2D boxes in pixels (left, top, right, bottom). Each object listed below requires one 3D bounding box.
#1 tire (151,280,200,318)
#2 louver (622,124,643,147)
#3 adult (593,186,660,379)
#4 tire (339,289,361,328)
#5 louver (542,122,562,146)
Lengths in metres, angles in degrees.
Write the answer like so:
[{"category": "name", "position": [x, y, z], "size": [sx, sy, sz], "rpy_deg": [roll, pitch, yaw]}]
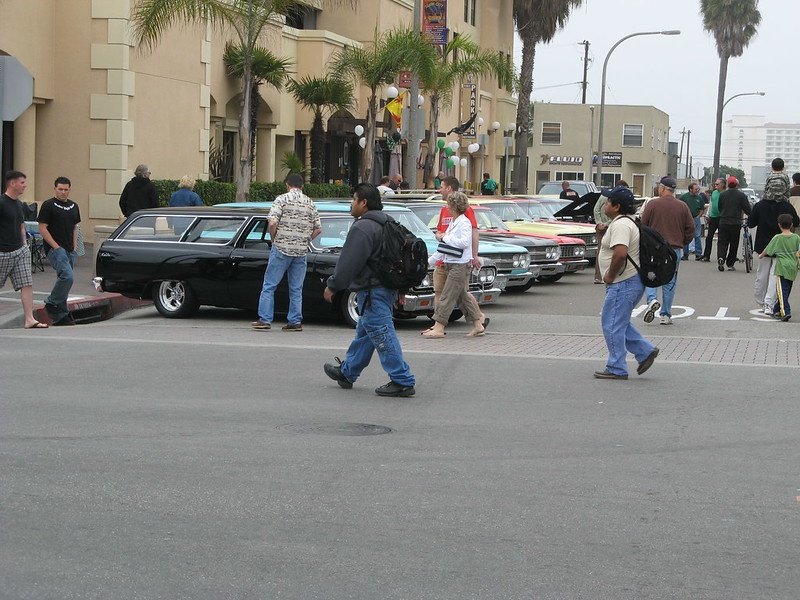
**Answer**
[{"category": "tire", "position": [-3.788, -0.038, 13.478], "size": [0.580, 0.620, 0.236], "rpy_deg": [2, 5, 25]}, {"category": "louver", "position": [23.137, -16.331, 79.198], "size": [2.057, 2.533, 0.263], "rpy_deg": [2, 5, 4]}, {"category": "adult", "position": [2.521, -0.188, 8.915], "size": [0.557, 2.168, 0.674], "rpy_deg": [-3, 7, -36]}, {"category": "tire", "position": [-0.719, 0.103, 11.525], "size": [0.453, 0.475, 0.167], "rpy_deg": [23, 12, 42]}, {"category": "louver", "position": [15.232, -16.710, 79.498], "size": [2.170, 2.575, 0.323], "rpy_deg": [1, -2, -1]}]
